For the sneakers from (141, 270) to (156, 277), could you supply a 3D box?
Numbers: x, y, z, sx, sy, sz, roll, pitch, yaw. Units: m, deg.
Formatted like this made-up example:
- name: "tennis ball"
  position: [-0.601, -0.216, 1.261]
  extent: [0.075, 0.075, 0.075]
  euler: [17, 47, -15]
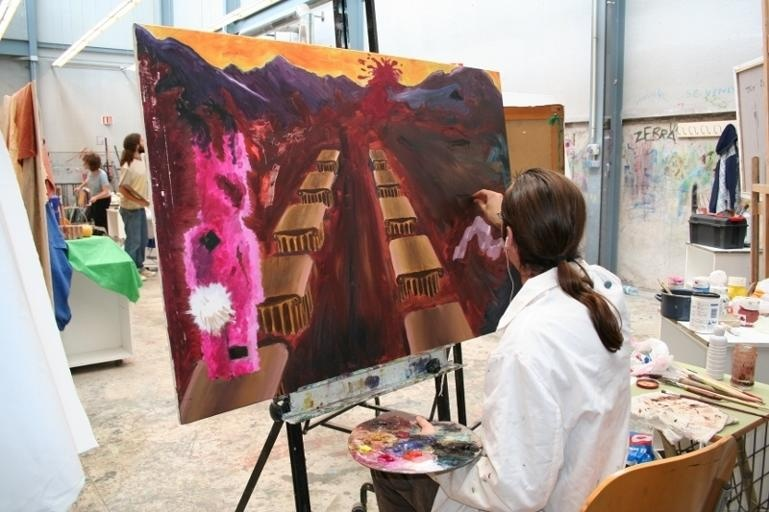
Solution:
- name: "sneakers"
  position: [-3.162, 0.248, 7.128]
  extent: [0.173, 0.073, 0.065]
  euler: [1, 8, 25]

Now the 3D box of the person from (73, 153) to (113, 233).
- name: "person"
  position: [-3.937, -0.671, 7.267]
  extent: [0.542, 1.355, 0.443]
  euler: [17, 19, 41]

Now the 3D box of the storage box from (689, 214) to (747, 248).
- name: "storage box"
  position: [2.874, -0.214, 4.637]
  extent: [0.274, 0.228, 0.428]
  euler: [-1, 9, -14]

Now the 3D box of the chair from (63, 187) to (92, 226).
- name: "chair"
  position: [-4.285, -0.614, 7.447]
  extent: [0.370, 0.632, 0.392]
  euler: [3, 8, -4]

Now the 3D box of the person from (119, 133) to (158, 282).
- name: "person"
  position: [-3.250, -0.636, 6.931]
  extent: [0.348, 1.870, 1.186]
  euler: [-6, 8, -26]

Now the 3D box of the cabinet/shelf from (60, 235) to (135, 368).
- name: "cabinet/shelf"
  position: [-2.271, 0.382, 4.226]
  extent: [0.509, 1.043, 0.701]
  euler: [-9, 10, -43]

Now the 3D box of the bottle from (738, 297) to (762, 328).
- name: "bottle"
  position: [2.044, 0.316, 3.003]
  extent: [0.112, 0.151, 0.153]
  euler: [-1, 14, 6]
